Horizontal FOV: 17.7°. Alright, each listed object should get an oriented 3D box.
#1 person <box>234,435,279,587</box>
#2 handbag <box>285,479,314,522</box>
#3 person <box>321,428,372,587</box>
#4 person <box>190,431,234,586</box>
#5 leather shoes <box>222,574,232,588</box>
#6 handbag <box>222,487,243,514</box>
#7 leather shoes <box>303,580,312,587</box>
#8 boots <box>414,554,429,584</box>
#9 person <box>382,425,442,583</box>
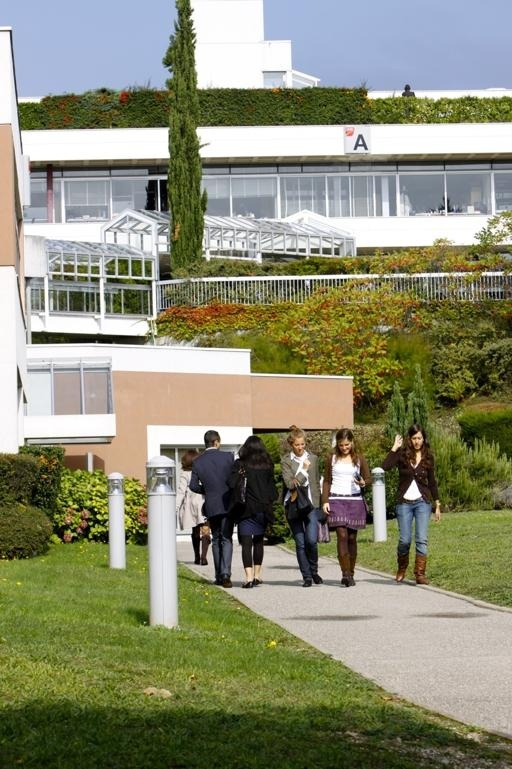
[{"bbox_3d":[-0.014,1.271,16.217,0.434,1.505,1.104,-2,-2,0],"label":"person"},{"bbox_3d":[0.412,1.150,16.073,0.147,0.327,0.293,-11,-8,-39],"label":"handbag"},{"bbox_3d":[0.880,1.221,16.183,0.469,1.543,0.592,-2,-2,3],"label":"person"},{"bbox_3d":[-0.342,1.227,16.248,0.442,1.504,0.424,-9,9,-36],"label":"person"},{"bbox_3d":[-0.295,1.963,16.309,0.075,0.118,0.254,0,-11,-1],"label":"leather shoes"},{"bbox_3d":[-0.205,1.157,15.900,0.162,0.261,0.266,0,-3,-41],"label":"handbag"},{"bbox_3d":[0.504,1.986,16.284,0.052,0.078,0.165,0,-3,0],"label":"leather shoes"},{"bbox_3d":[1.594,1.823,16.134,0.114,0.286,0.359,-2,-2,4],"label":"boots"},{"bbox_3d":[1.537,1.196,16.275,0.547,1.553,0.531,-2,-2,18],"label":"person"}]
